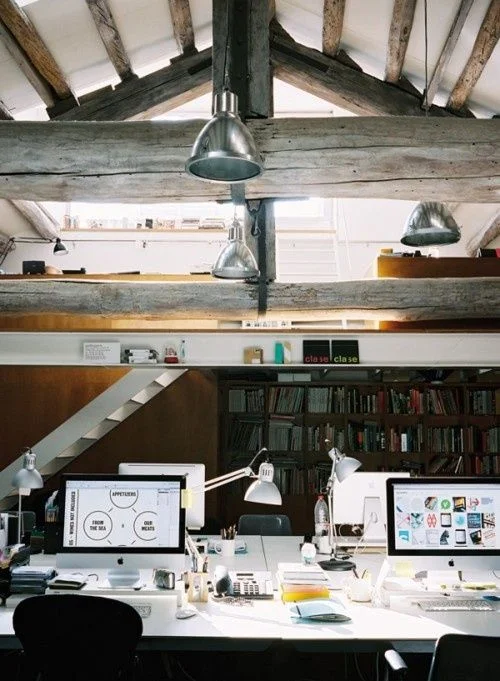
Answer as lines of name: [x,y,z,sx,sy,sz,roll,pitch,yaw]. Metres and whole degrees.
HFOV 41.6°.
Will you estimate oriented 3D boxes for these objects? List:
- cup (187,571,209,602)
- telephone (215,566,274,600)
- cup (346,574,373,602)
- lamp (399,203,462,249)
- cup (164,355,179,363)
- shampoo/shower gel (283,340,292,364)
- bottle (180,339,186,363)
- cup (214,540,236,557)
cup: [-0.221,1.037,2.778,0.105,0.128,0.102,2,-10,0]
telephone: [-0.035,1.071,2.887,0.197,0.056,0.152,2,-3,-5]
cup: [0.465,1.069,2.825,0.120,0.078,0.073,0,-8,1]
lamp: [1.085,-0.653,3.901,0.297,0.296,0.283,1,-11,-2]
cup: [-0.598,0.143,4.943,0.061,0.053,0.080,2,-1,2]
shampoo/shower gel: [0.283,0.090,4.970,0.063,0.175,0.045,1,-15,-3]
bottle: [-0.512,0.076,5.008,0.054,0.178,0.024,9,-17,-31]
cup: [-0.143,1.157,3.669,0.125,0.087,0.076,1,-5,-5]
